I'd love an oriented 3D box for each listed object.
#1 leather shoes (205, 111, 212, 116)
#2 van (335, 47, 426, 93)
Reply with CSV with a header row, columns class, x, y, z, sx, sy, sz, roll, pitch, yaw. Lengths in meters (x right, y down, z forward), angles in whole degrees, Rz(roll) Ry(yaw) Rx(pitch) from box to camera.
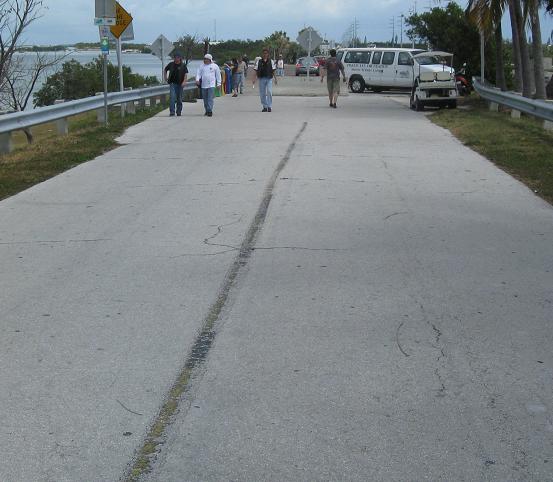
class,x,y,z,sx,sy,sz,roll,pitch,yaw
leather shoes,-2.634,-4.870,20.355,0.251,0.186,0.511,-2,16,-8
van,6.564,-10.908,33.831,4.275,2.331,2.888,6,19,27
